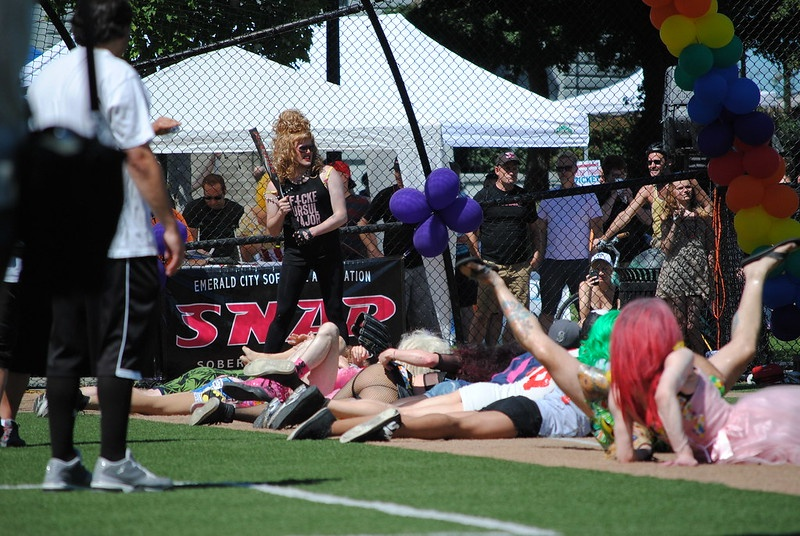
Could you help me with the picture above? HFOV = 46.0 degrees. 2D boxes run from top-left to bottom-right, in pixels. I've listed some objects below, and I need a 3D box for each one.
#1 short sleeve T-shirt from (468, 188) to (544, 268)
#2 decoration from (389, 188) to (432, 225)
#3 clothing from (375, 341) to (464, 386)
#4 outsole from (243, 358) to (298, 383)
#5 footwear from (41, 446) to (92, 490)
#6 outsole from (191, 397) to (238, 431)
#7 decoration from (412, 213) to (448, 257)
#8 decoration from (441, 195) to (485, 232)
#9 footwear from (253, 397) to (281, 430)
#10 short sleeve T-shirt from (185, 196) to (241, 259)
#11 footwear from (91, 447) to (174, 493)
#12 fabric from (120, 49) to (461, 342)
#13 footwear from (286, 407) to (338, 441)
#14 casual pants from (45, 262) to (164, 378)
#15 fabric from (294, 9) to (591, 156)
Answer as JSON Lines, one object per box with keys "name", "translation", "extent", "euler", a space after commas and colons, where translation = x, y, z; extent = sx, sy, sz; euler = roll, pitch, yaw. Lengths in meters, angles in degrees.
{"name": "short sleeve T-shirt", "translation": [1.061, -0.386, 9.534], "extent": [0.750, 0.906, 0.448], "euler": [0, -1, -15]}
{"name": "decoration", "translation": [0.089, -0.520, 8.564], "extent": [0.324, 0.356, 0.463], "euler": [-4, -17, 6]}
{"name": "clothing", "translation": [0.156, 0.829, 7.465], "extent": [0.678, 0.287, 0.568], "euler": [-2, 6, 36]}
{"name": "outsole", "translation": [-0.972, 0.780, 7.268], "extent": [0.320, 0.106, 0.173], "euler": [-2, 28, 5]}
{"name": "footwear", "translation": [-1.795, 1.135, 5.259], "extent": [0.128, 0.169, 0.315], "euler": [1, -2, 32]}
{"name": "outsole", "translation": [-1.435, 1.149, 7.433], "extent": [0.356, 0.191, 0.181], "euler": [0, 29, -6]}
{"name": "decoration", "translation": [0.303, -0.309, 8.545], "extent": [0.321, 0.493, 0.335], "euler": [4, 3, -23]}
{"name": "decoration", "translation": [0.604, -0.479, 8.599], "extent": [0.443, 0.354, 0.325], "euler": [9, -13, -42]}
{"name": "footwear", "translation": [-1.006, 1.154, 7.286], "extent": [0.084, 0.268, 0.155], "euler": [38, -5, -15]}
{"name": "short sleeve T-shirt", "translation": [-1.899, -0.396, 9.802], "extent": [0.598, 0.761, 0.368], "euler": [-2, -2, -3]}
{"name": "footwear", "translation": [-1.451, 1.135, 5.239], "extent": [0.499, 0.235, 0.170], "euler": [13, -16, -42]}
{"name": "fabric", "translation": [-1.219, -1.826, 12.524], "extent": [3.224, 2.546, 3.390], "euler": [-1, 9, 2]}
{"name": "footwear", "translation": [-0.593, 1.134, 6.682], "extent": [0.377, 0.152, 0.148], "euler": [-39, -8, -19]}
{"name": "casual pants", "translation": [-1.609, 0.280, 5.196], "extent": [0.520, 0.772, 0.264], "euler": [4, -4, 25]}
{"name": "fabric", "translation": [0.761, -2.171, 11.757], "extent": [2.064, 1.053, 2.161], "euler": [3, 0, -8]}
